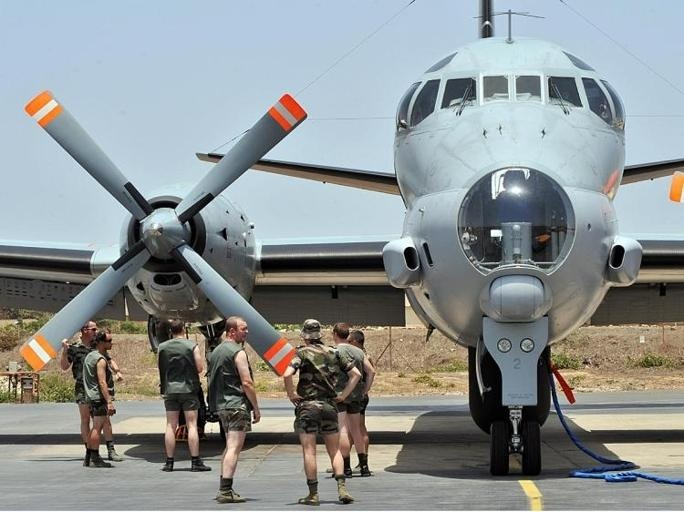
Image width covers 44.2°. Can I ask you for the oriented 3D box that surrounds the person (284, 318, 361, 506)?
[{"bbox_3d":[-0.260,1.846,9.885,0.909,2.130,0.566,1,-2,-19],"label":"person"}]

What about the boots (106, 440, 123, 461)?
[{"bbox_3d":[-3.447,3.004,12.874,0.213,0.338,0.484,2,-6,-28],"label":"boots"}]

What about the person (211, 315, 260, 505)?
[{"bbox_3d":[-1.290,1.850,10.040,0.608,2.176,0.629,0,-2,-9],"label":"person"}]

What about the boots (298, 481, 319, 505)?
[{"bbox_3d":[-0.381,2.753,9.753,0.250,0.312,0.276,0,-2,-4],"label":"boots"}]

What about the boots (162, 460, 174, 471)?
[{"bbox_3d":[-2.445,2.933,11.726,0.111,0.169,0.266,3,1,-15],"label":"boots"}]

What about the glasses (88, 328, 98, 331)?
[{"bbox_3d":[-3.748,1.131,12.645,0.079,0.072,0.024,1,21,1],"label":"glasses"}]

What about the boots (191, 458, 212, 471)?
[{"bbox_3d":[-1.949,2.901,11.685,0.268,0.235,0.244,0,-2,-16],"label":"boots"}]
